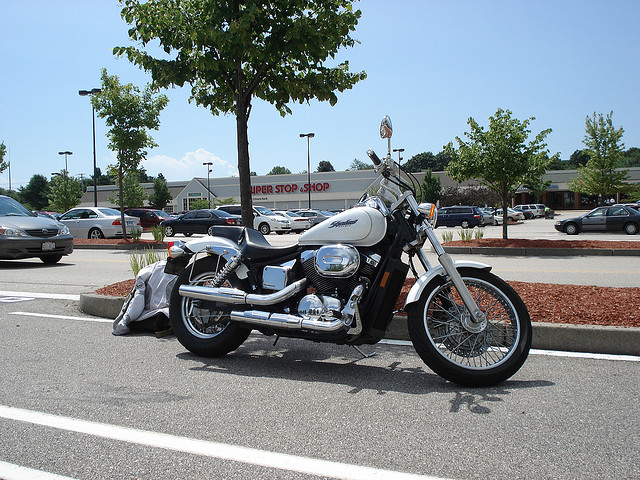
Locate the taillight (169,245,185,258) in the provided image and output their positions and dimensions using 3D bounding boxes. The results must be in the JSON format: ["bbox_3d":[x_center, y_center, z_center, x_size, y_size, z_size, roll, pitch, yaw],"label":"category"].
[{"bbox_3d":[-1.698,0.127,6.094,0.140,0.152,0.069,-7,-15,-10],"label":"taillight"}]

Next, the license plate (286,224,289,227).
[{"bbox_3d":[-1.924,-0.883,30.501,0.147,0.165,0.035,-1,2,-9],"label":"license plate"}]

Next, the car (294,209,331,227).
[{"bbox_3d":[-0.107,-1.756,35.259,3.134,1.163,1.537,1,1,9],"label":"car"}]

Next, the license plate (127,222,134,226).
[{"bbox_3d":[-8.085,-0.732,21.959,0.155,0.163,0.039,0,1,-14],"label":"license plate"}]

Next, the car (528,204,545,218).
[{"bbox_3d":[23.003,-3.172,54.525,2.113,0.986,1.039,2,5,26],"label":"car"}]

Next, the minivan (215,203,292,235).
[{"bbox_3d":[-4.243,-1.225,31.860,4.691,2.069,2.259,-3,1,25],"label":"minivan"}]

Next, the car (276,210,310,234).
[{"bbox_3d":[-1.747,-1.095,32.693,1.450,1.159,3.198,-3,5,-44],"label":"car"}]

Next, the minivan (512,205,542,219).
[{"bbox_3d":[22.251,-3.155,55.156,2.369,0.955,1.127,5,5,36],"label":"minivan"}]
